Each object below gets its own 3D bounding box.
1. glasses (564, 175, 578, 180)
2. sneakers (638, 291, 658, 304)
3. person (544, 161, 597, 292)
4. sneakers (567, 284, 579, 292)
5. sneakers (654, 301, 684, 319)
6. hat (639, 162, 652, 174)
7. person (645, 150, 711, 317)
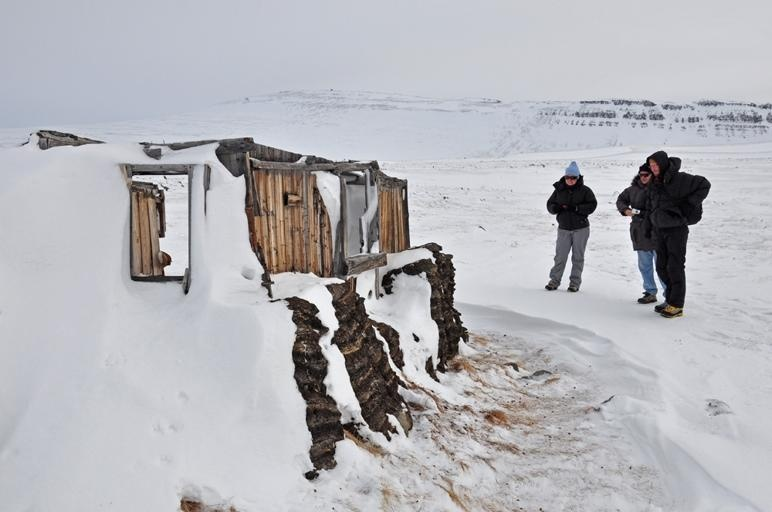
[{"bbox_3d":[3.823,-1.627,13.651,0.244,0.111,0.216,3,16,17],"label":"glasses"},{"bbox_3d":[5.074,0.809,12.881,0.377,0.212,0.170,0,4,7],"label":"sneakers"},{"bbox_3d":[3.961,-0.619,14.161,0.955,2.867,1.359,3,14,18],"label":"person"},{"bbox_3d":[3.912,0.674,13.830,0.097,0.124,0.253,-3,-12,31],"label":"sneakers"},{"bbox_3d":[5.172,0.983,12.102,0.487,0.251,0.222,6,7,10],"label":"sneakers"},{"bbox_3d":[4.786,-1.625,12.246,0.141,0.159,0.197,-10,-15,18],"label":"hat"},{"bbox_3d":[5.206,-0.421,12.019,0.662,2.936,0.836,-6,14,-19],"label":"person"}]
